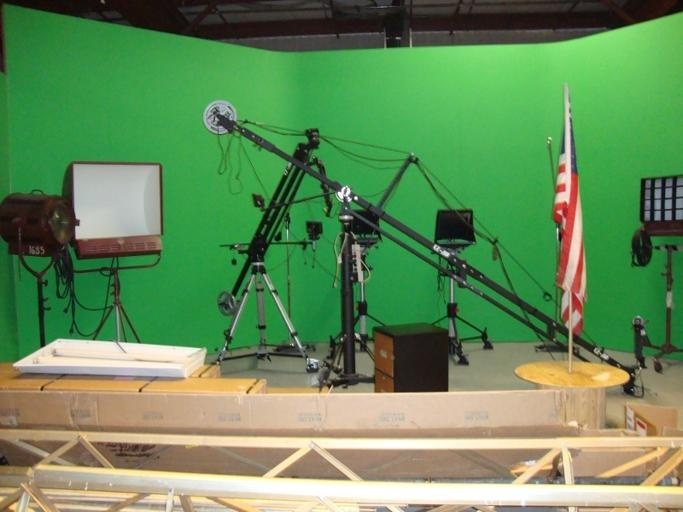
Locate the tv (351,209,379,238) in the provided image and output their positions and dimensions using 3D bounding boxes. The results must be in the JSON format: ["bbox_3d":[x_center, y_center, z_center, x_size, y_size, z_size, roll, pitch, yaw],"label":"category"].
[{"bbox_3d":[0.263,-0.375,9.734,0.294,0.326,0.303,-1,-7,-9],"label":"tv"}]

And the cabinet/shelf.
[{"bbox_3d":[0.683,0.980,8.465,0.636,0.705,0.626,-4,6,-22],"label":"cabinet/shelf"}]

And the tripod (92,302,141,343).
[{"bbox_3d":[-2.528,0.745,9.108,0.313,0.512,0.402,8,0,39],"label":"tripod"}]

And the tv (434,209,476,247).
[{"bbox_3d":[1.368,-0.330,10.060,0.574,0.588,0.500,1,3,-1],"label":"tv"}]

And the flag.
[{"bbox_3d":[2.039,-0.345,7.370,0.279,2.145,0.504,0,6,15],"label":"flag"}]
